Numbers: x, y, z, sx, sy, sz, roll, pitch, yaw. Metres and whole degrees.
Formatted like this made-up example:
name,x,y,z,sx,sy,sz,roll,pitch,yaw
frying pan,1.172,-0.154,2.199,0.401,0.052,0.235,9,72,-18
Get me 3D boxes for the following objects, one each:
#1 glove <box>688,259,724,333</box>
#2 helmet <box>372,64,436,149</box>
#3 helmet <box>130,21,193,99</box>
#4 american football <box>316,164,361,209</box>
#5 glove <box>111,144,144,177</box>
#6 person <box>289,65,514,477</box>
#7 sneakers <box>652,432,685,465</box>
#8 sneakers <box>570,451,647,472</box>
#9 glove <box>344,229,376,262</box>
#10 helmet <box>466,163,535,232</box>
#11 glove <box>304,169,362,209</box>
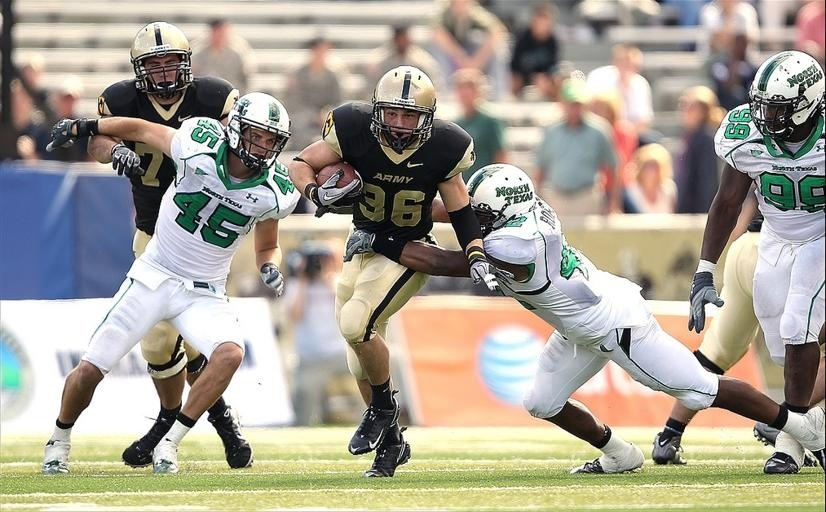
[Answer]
name,x,y,z,sx,sy,sz,roll,pitch,yaw
glove,2.172,0.288,7.604,0.163,0.344,0.520,9,47,5
helmet,0.026,-1.070,7.267,0.478,0.522,0.578,5,23,2
helmet,-1.834,-1.492,7.753,0.499,0.535,0.574,-6,14,-7
american football,-0.514,-0.498,7.159,0.340,0.248,0.248,-1,0,0
glove,-2.123,-0.711,7.463,0.135,0.193,0.252,-36,30,-5
person,-0.210,0.177,7.401,1.370,3.061,0.744,2,11,-5
sneakers,1.990,1.522,7.907,0.146,0.207,0.404,2,-4,20
sneakers,1.468,1.592,7.667,0.573,0.205,0.197,0,-6,3
glove,-0.410,-0.086,7.351,0.245,0.118,0.192,-42,32,-26
helmet,0.639,-0.413,7.334,0.536,0.410,0.396,-7,28,9
glove,-0.568,-0.462,7.163,0.354,0.161,0.258,-1,-7,16
